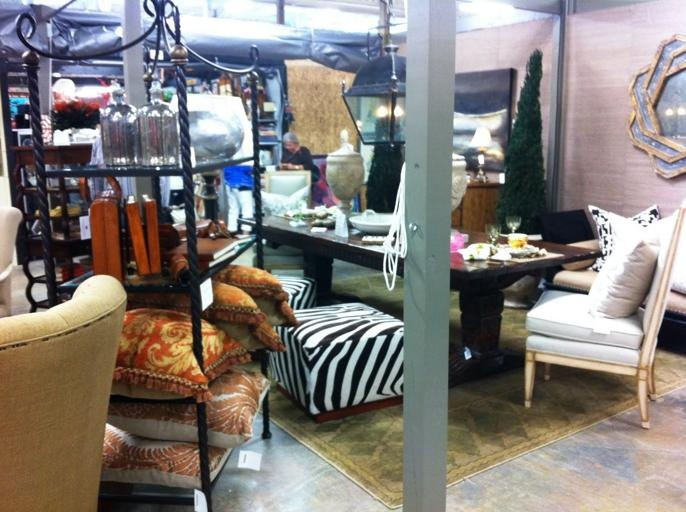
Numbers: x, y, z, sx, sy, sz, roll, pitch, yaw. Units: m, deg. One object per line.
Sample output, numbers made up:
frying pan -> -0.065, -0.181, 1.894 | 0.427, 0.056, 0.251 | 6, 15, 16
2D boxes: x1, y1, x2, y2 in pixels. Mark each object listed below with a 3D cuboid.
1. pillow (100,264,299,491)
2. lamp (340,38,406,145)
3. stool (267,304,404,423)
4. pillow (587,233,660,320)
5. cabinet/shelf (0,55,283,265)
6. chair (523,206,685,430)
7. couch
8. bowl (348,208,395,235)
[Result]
pillow -> -0.643, 0.534, 2.645 | 0.998, 0.606, 1.139 | 2, 10, 6
lamp -> 0.206, -1.025, 3.761 | 0.419, 0.565, 0.233 | 2, 18, 13
stool -> -0.066, 0.618, 3.573 | 0.682, 0.472, 0.693 | 6, 10, 40
pillow -> 1.708, 0.138, 3.534 | 0.409, 0.541, 0.790 | 1, -7, 31
cabinet/shelf -> -0.735, -0.307, 2.957 | 1.043, 1.341, 1.372 | 0, 11, 4
chair -> 1.758, 0.311, 4.300 | 1.290, 1.856, 1.097 | 5, 10, 28
couch -> 1.712, 0.101, 3.932 | 0.994, 1.261, 0.799 | 8, 16, 31
bowl -> 0.216, -0.258, 4.388 | 0.254, 0.066, 0.249 | -1, 11, 0
